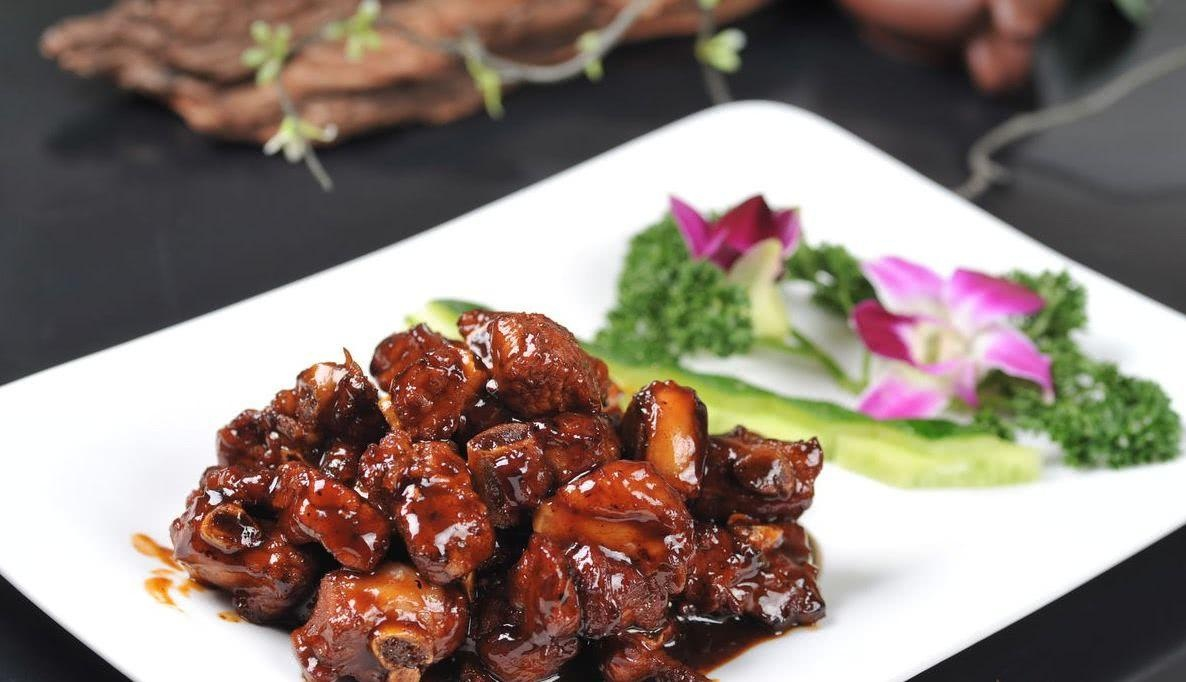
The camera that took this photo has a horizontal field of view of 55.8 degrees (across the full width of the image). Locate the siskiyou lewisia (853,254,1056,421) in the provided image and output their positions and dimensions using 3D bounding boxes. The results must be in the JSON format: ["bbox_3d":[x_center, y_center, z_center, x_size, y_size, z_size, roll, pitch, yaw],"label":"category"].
[{"bbox_3d":[1.932,-0.001,6.041,0.710,0.613,0.999,0,91,-38],"label":"siskiyou lewisia"}]

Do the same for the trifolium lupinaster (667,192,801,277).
[{"bbox_3d":[0.742,-0.611,6.496,0.679,0.689,0.313,8,85,9],"label":"trifolium lupinaster"}]
